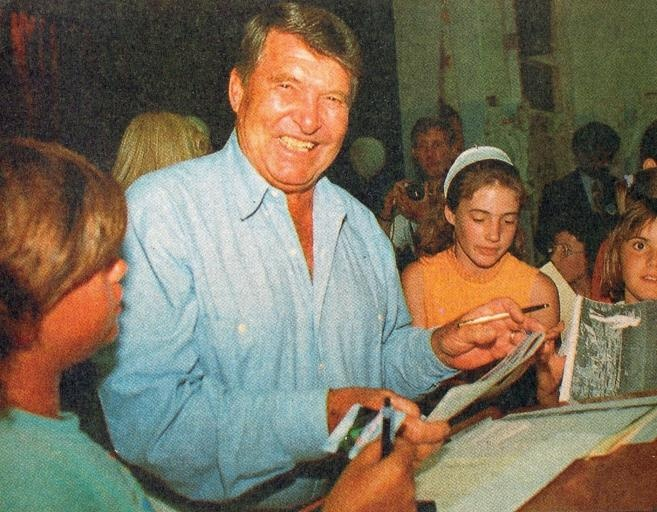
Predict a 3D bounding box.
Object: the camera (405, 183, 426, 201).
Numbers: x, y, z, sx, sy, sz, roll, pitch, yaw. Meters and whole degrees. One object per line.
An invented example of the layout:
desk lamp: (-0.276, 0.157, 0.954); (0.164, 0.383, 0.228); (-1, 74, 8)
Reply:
camera: (0.258, -0.194, 2.079); (0.048, 0.054, 0.018); (-15, 6, -21)

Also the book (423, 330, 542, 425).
book: (0.396, 0.308, 1.792); (0.430, 0.046, 0.324); (-38, -18, 13)
